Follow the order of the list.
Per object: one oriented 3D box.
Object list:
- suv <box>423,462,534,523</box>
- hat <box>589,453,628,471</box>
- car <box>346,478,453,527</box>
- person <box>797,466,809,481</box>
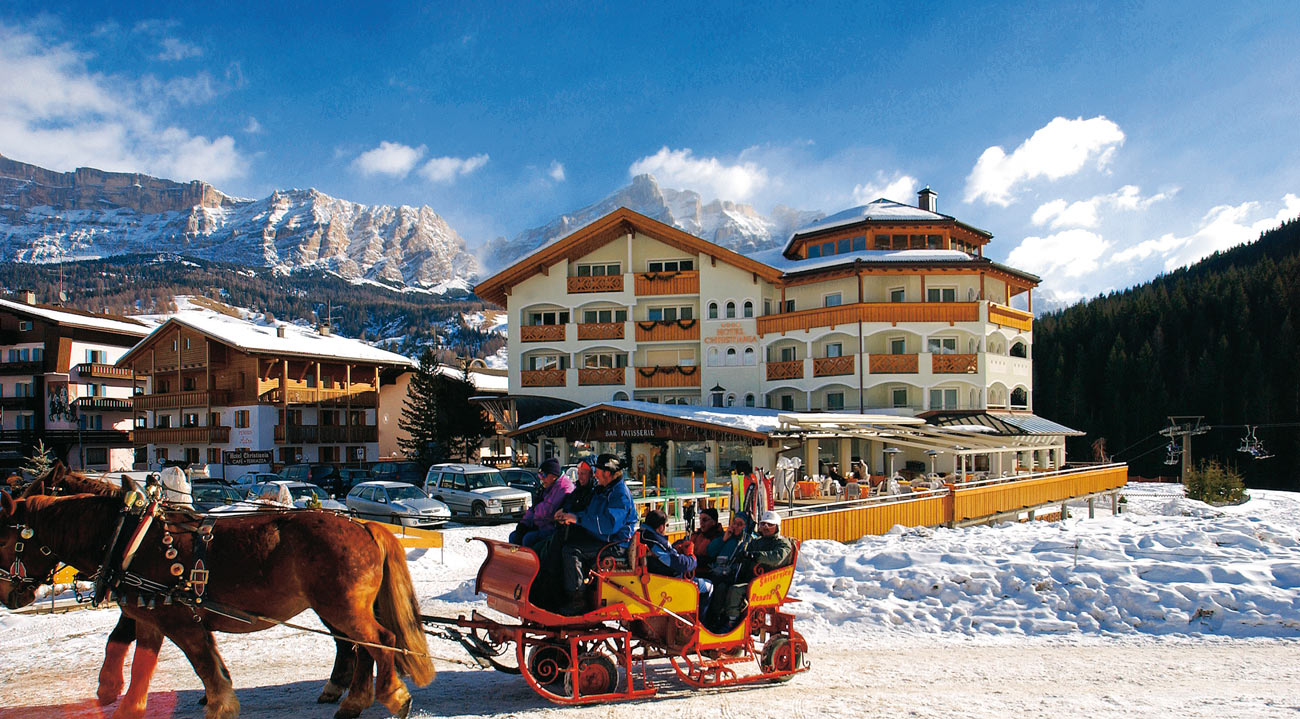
[{"bbox_3d":[-11.073,8.341,72.900,6.396,2.991,3.717,-4,-6,39],"label":"suv"},{"bbox_3d":[-1.689,4.638,52.310,1.233,0.429,0.909,1,1,-41],"label":"hat"},{"bbox_3d":[-15.602,8.800,70.345,6.418,2.084,2.900,-1,-2,33],"label":"car"},{"bbox_3d":[10.525,8.072,81.490,0.500,0.941,0.711,22,-25,-21],"label":"person"}]
